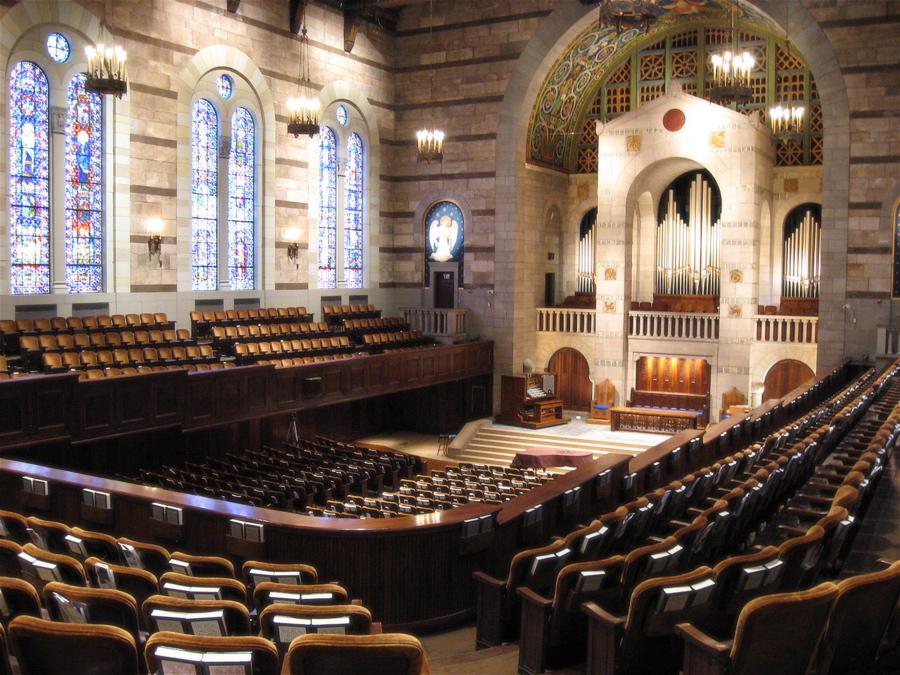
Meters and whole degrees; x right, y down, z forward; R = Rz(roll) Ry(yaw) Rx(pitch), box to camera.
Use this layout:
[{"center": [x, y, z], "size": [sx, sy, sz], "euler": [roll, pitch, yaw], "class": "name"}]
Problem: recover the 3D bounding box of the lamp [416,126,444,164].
[{"center": [-0.603, -5.783, 22.047], "size": [0.706, 0.908, 0.483], "euler": [0, 1, -16], "class": "lamp"}]
